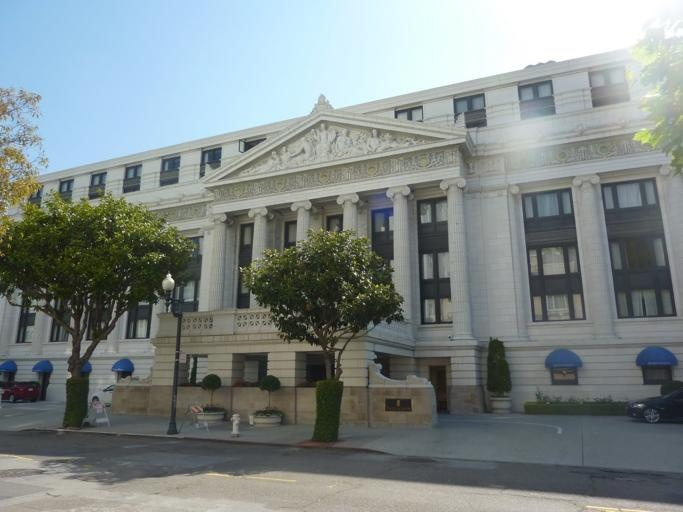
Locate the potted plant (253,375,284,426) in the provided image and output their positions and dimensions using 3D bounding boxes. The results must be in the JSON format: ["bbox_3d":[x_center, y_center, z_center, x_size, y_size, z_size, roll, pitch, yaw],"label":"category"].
[{"bbox_3d":[-3.813,7.626,28.149,1.152,2.579,1.379,-12,-16,40],"label":"potted plant"}]

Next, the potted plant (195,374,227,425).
[{"bbox_3d":[-7.187,7.881,29.393,1.424,2.612,1.786,-1,-12,-5],"label":"potted plant"}]
